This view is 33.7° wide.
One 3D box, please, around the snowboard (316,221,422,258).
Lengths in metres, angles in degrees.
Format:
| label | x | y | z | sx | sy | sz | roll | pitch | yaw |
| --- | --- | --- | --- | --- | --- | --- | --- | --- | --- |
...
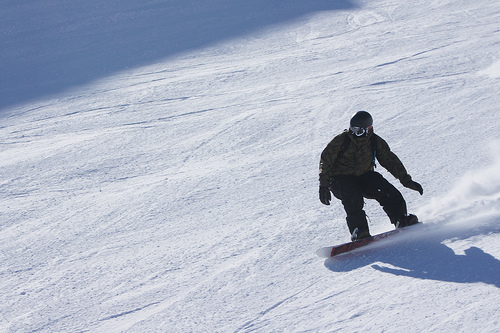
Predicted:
| label | x | y | z | sx | sy | sz | roll | pitch | yaw |
| --- | --- | --- | --- | --- | --- | --- | --- | --- | --- |
| snowboard | 2.501 | 1.330 | 15.647 | 2.843 | 0.210 | 0.256 | -12 | 18 | -29 |

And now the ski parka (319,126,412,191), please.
| label | x | y | z | sx | sy | sz | roll | pitch | yaw |
| --- | --- | --- | --- | --- | --- | --- | --- | --- | --- |
| ski parka | 2.070 | -0.076 | 15.765 | 1.687 | 1.247 | 0.453 | -16 | 22 | 3 |
